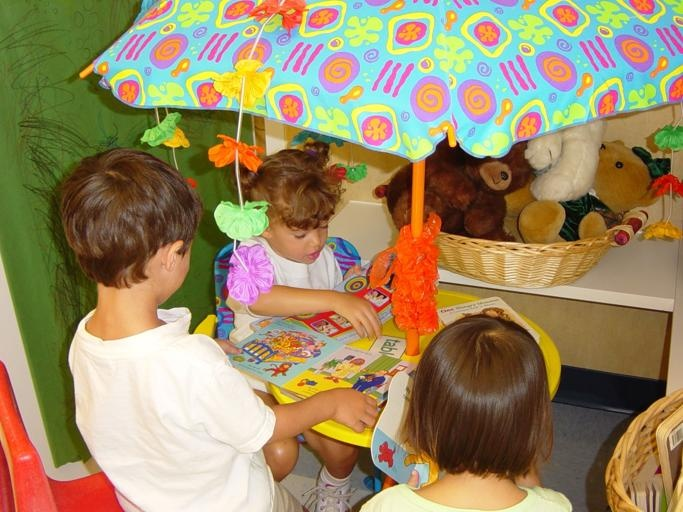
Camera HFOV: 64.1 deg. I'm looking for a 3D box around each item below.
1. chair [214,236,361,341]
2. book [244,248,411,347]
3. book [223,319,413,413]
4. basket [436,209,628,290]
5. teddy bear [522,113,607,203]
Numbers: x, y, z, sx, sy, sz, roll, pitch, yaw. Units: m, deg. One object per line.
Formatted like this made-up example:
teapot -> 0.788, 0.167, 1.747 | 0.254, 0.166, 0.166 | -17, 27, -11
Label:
chair -> -0.184, 0.070, 1.794 | 0.399, 0.324, 0.447 | 8, 5, -25
book -> -0.046, 0.109, 1.410 | 0.250, 0.061, 0.198 | 14, 34, 18
book -> -0.068, 0.253, 1.268 | 0.281, 0.050, 0.179 | 13, 44, 16
basket -> 0.508, 0.003, 1.518 | 0.478, 0.177, 0.213 | 2, 14, 8
teddy bear -> 0.626, -0.296, 1.661 | 0.206, 0.373, 0.259 | 3, 15, 8
